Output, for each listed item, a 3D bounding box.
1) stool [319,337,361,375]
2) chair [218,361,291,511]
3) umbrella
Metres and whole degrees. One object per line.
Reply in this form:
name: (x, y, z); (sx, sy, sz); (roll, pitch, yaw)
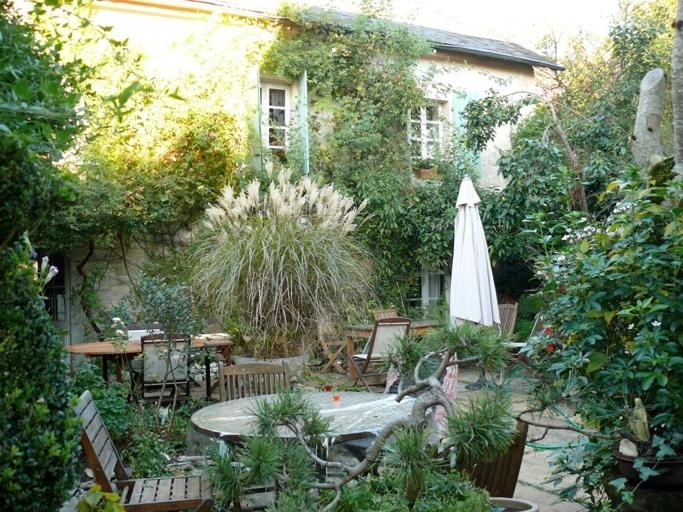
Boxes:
stool: (-0.052, 1.438, 7.695); (0.571, 0.646, 0.445); (-1, -1, 24)
chair: (-0.711, 1.251, 4.162); (0.743, 1.297, 0.827); (1, -6, -10)
umbrella: (1.701, -0.112, 6.973); (0.594, 1.686, 0.869); (-1, 0, 15)
